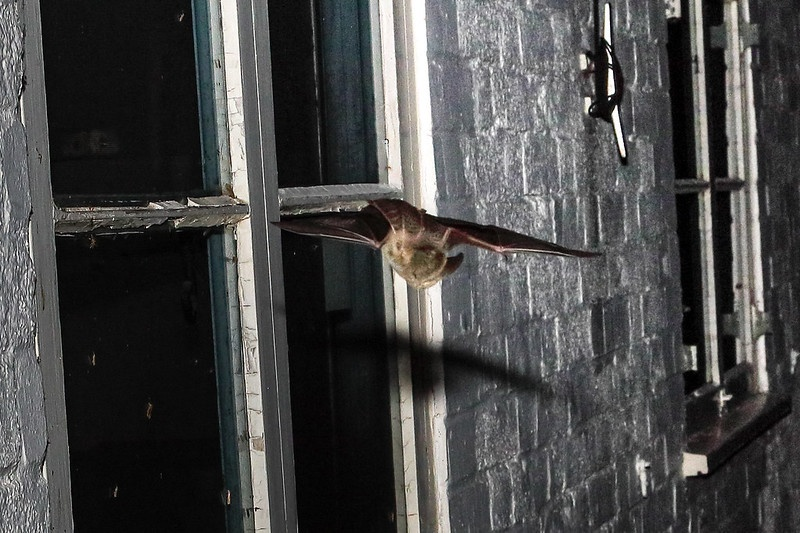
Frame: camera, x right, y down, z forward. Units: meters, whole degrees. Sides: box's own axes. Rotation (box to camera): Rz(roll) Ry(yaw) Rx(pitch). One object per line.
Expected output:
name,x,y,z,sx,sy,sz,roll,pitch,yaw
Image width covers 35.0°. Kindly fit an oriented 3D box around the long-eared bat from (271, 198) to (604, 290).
long-eared bat,0.052,-0.057,2.502,0.623,0.133,0.204,3,-71,26
